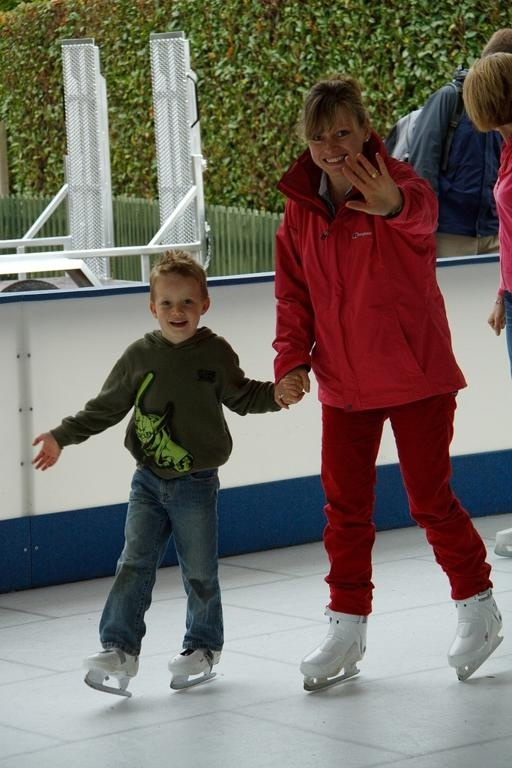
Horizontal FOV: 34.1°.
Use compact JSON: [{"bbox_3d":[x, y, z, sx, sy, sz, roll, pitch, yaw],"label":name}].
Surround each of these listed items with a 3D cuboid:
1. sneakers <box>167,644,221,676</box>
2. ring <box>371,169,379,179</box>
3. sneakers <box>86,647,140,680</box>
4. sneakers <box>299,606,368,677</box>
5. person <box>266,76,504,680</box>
[{"bbox_3d":[-0.164,0.736,2.226,0.060,0.068,0.154,-8,-13,34],"label":"sneakers"},{"bbox_3d":[0.266,-0.473,1.876,0.024,0.022,0.006,10,15,36],"label":"ring"},{"bbox_3d":[-0.380,0.724,2.146,0.060,0.085,0.157,-5,-4,34],"label":"sneakers"},{"bbox_3d":[0.214,0.697,2.246,0.070,0.193,0.227,1,-1,44],"label":"sneakers"},{"bbox_3d":[0.325,0.017,2.174,0.578,1.551,0.673,-4,-3,5],"label":"person"}]
